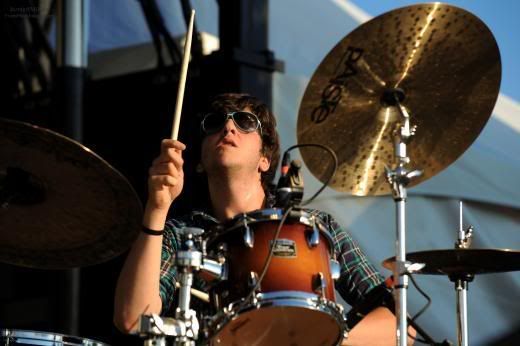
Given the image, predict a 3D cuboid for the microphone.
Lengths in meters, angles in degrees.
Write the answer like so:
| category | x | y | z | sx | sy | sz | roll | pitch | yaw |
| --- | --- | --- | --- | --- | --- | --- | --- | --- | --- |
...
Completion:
| category | x | y | z | sx | sy | sz | roll | pitch | yaw |
| --- | --- | --- | --- | --- | --- | --- | --- | --- | --- |
| microphone | 0.709 | 0.843 | 5.941 | 0.341 | 0.303 | 0.093 | -34 | 83 | -4 |
